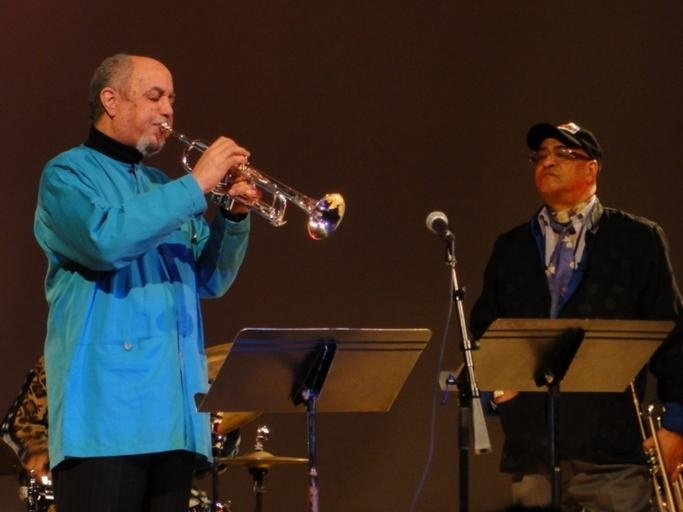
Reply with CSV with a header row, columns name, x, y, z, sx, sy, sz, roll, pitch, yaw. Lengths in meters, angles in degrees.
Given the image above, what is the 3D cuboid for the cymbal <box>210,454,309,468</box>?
name,x,y,z,sx,sy,sz,roll,pitch,yaw
cymbal,-0.536,1.347,6.059,0.301,0.082,0.313,-8,-14,25
